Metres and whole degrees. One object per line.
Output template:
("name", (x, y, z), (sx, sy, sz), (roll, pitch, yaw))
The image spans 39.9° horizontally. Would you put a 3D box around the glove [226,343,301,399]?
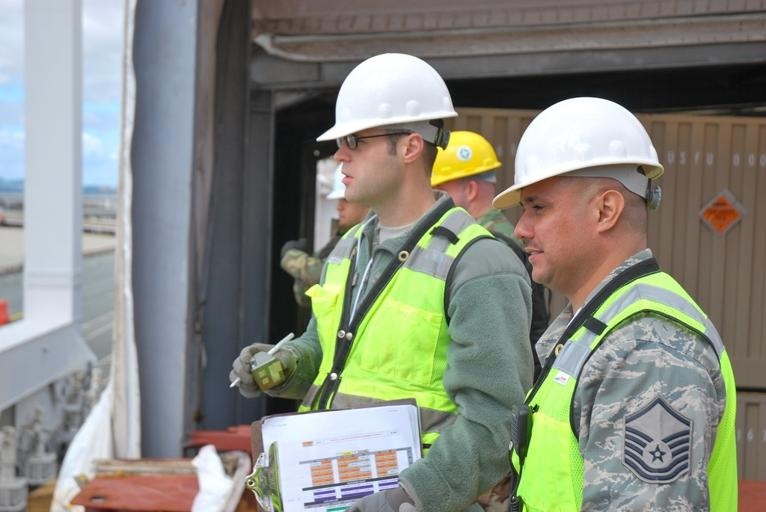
("glove", (-0.602, 0.566, 5.549), (0.306, 0.283, 0.425), (0, 11, 3))
